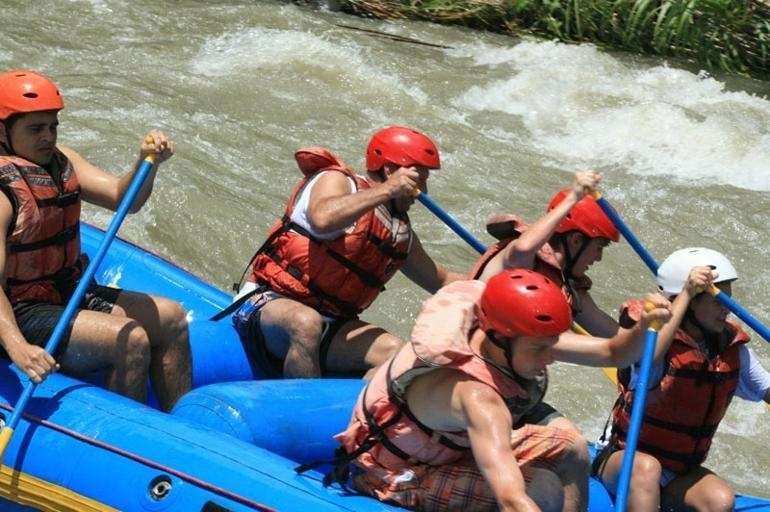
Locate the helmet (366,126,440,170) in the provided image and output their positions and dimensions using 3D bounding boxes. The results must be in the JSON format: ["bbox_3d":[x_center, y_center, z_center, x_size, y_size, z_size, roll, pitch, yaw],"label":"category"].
[{"bbox_3d":[0.119,-0.619,4.712,0.365,0.230,0.266,23,6,13],"label":"helmet"}]

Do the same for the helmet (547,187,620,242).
[{"bbox_3d":[1.174,-0.225,4.473,0.391,0.191,0.284,25,19,-8],"label":"helmet"}]

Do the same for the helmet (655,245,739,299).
[{"bbox_3d":[1.761,0.104,4.344,0.361,0.221,0.271,19,19,22],"label":"helmet"}]

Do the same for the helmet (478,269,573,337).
[{"bbox_3d":[0.641,0.203,3.501,0.351,0.237,0.268,19,16,35],"label":"helmet"}]
